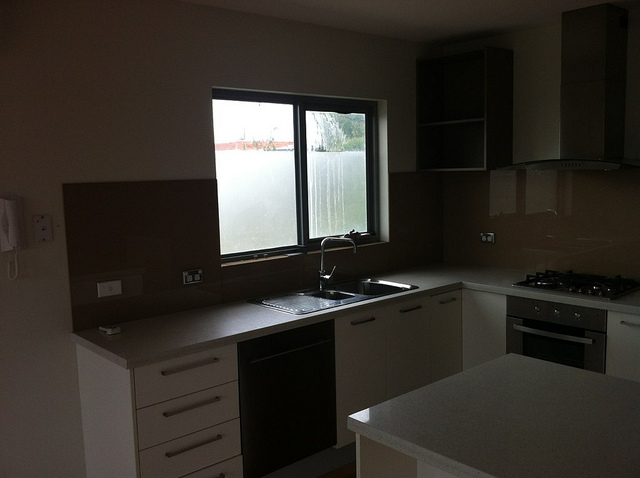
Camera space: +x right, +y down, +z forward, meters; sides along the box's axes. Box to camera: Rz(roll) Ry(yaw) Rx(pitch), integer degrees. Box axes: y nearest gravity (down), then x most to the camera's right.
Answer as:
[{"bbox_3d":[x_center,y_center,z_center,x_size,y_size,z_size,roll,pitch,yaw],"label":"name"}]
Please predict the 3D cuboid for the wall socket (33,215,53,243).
[{"bbox_3d":[-1.579,-0.068,2.890,0.028,0.133,0.125,1,4,32],"label":"wall socket"}]
